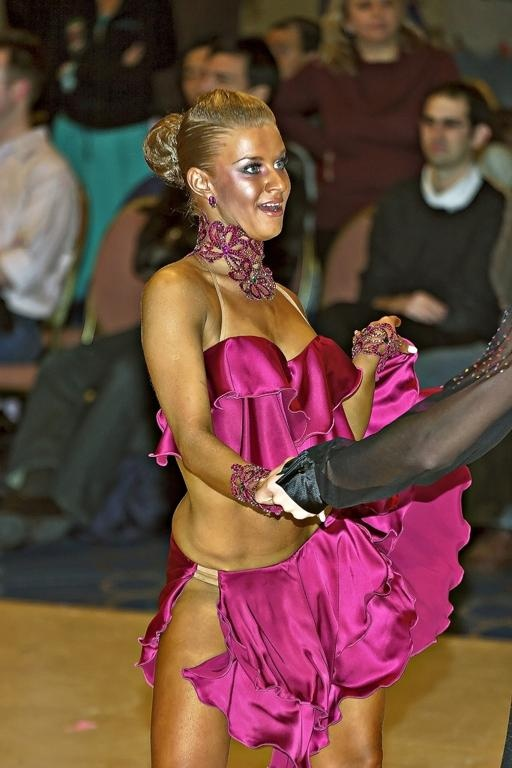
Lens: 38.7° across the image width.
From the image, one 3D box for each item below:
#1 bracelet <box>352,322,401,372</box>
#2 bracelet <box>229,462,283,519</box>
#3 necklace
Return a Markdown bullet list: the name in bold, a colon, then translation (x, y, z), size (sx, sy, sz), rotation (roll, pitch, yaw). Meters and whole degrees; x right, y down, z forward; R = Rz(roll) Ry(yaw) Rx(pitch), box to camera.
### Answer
- **bracelet**: translation (0.236, -0.084, 1.510), size (0.053, 0.086, 0.100), rotation (17, 88, 37)
- **bracelet**: translation (0.001, 0.135, 0.939), size (0.042, 0.055, 0.076), rotation (-30, 9, -10)
- **necklace**: translation (-0.018, -0.221, 1.322), size (0.132, 0.163, 0.050), rotation (27, 67, 34)
